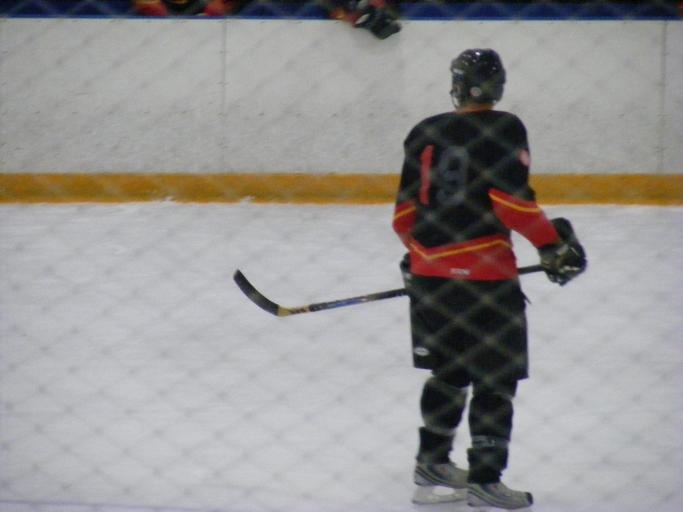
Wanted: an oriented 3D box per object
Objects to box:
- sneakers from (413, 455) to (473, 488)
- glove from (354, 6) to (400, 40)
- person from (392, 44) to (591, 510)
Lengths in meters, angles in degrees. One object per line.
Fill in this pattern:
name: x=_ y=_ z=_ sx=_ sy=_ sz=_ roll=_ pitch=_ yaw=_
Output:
sneakers: x=0.546 y=1.177 z=8.997 sx=0.387 sy=0.125 sz=0.112 roll=-2 pitch=16 yaw=-6
glove: x=0.261 y=-1.665 z=11.848 sx=0.282 sy=0.219 sz=0.070 roll=0 pitch=15 yaw=0
person: x=0.718 y=0.272 z=8.946 sx=0.927 sy=1.910 sz=1.362 roll=4 pitch=36 yaw=-1
